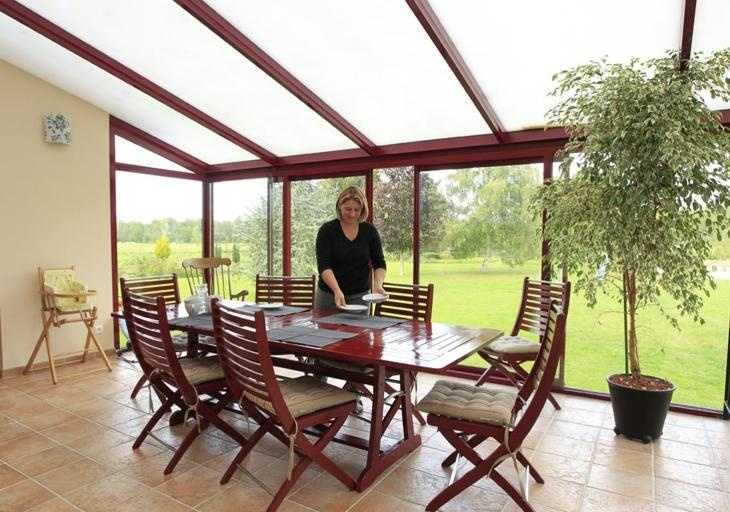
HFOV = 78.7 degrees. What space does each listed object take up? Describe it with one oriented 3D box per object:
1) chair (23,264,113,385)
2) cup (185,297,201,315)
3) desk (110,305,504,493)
[{"bbox_3d":[-3.565,0.782,5.343,0.832,1.281,0.951,-4,4,-40],"label":"chair"},{"bbox_3d":[-1.525,0.455,3.999,0.149,0.145,0.163,2,-8,0],"label":"cup"},{"bbox_3d":[-0.232,0.970,3.462,2.436,1.402,1.054,-1,3,17],"label":"desk"}]
